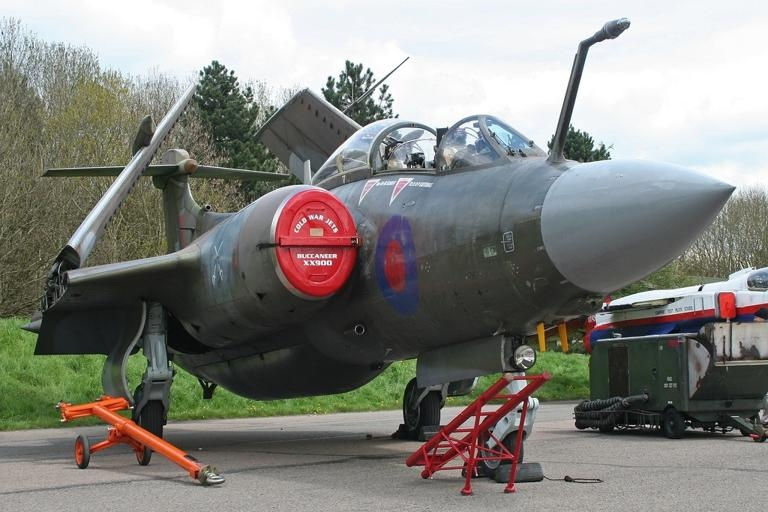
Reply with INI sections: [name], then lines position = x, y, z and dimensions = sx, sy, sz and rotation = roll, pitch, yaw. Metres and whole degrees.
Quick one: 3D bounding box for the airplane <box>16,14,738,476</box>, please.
[airplane]
position = -1.151, 0.155, 13.010
dimensions = 7.344, 4.588, 10.153
rotation = -1, -5, -40
